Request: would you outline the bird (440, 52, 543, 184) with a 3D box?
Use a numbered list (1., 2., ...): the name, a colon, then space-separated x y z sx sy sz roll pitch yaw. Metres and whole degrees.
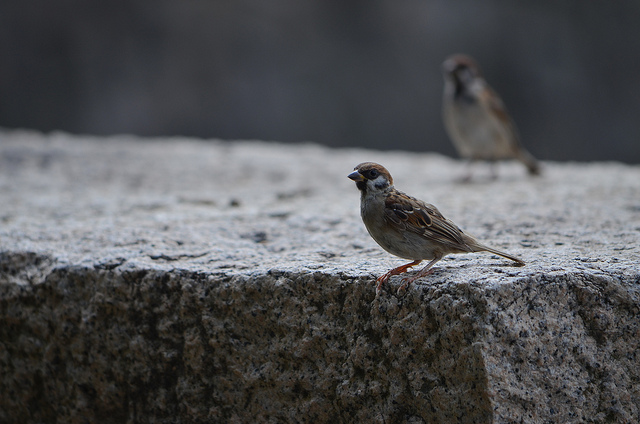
1. bird: 1.455 -0.969 9.209 0.637 1.068 0.471 -8 -28 4
